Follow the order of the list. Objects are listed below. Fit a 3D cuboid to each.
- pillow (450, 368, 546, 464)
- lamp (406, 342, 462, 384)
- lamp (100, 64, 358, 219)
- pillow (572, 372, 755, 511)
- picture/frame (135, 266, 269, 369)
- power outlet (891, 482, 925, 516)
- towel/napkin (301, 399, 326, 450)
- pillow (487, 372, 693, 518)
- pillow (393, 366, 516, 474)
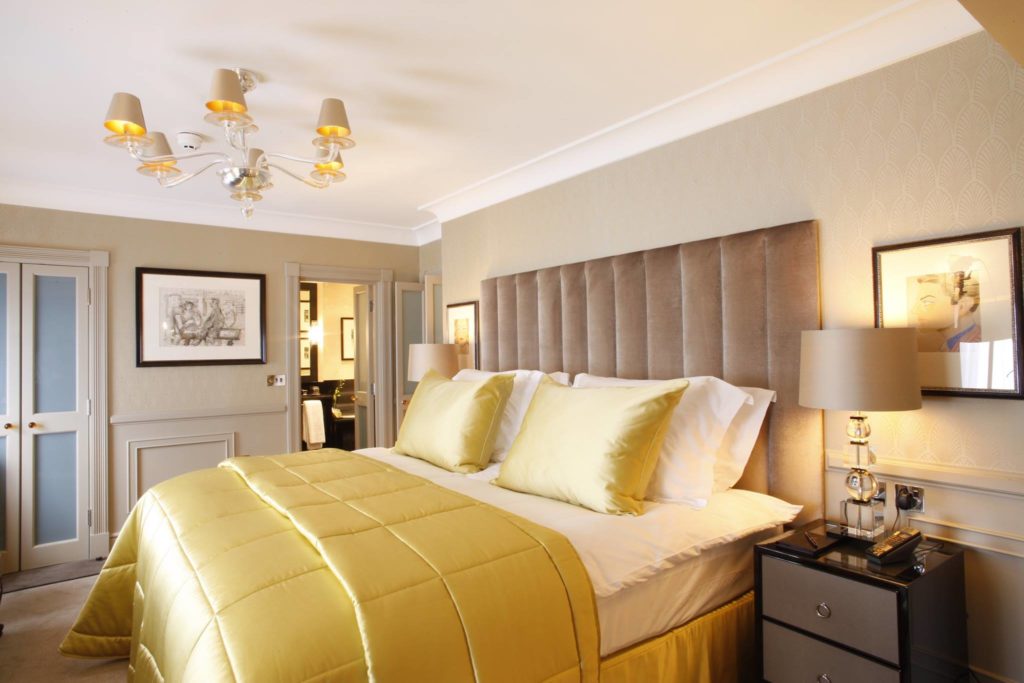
[{"bbox_3d":[-0.034,0.419,4.280,0.179,0.561,0.608,31,-27,-35],"label":"pillow"},{"bbox_3d":[-0.666,0.153,5.499,0.344,0.242,0.345,-1,-7,5],"label":"lamp"},{"bbox_3d":[-1.614,-1.194,3.948,1.424,0.699,1.274,-5,-1,5],"label":"lamp"},{"bbox_3d":[0.989,0.538,3.625,0.616,0.616,0.192,10,-21,34],"label":"pillow"},{"bbox_3d":[-2.814,-0.221,5.948,0.896,0.738,0.044,-6,5,-42],"label":"picture/frame"},{"bbox_3d":[2.011,0.778,3.418,0.148,0.210,0.153,-1,-1,43],"label":"power outlet"},{"bbox_3d":[-2.311,0.951,7.820,0.102,0.539,0.264,-12,-8,24],"label":"towel/napkin"},{"bbox_3d":[0.363,0.552,3.733,0.522,0.609,1.018,-5,5,-44],"label":"pillow"},{"bbox_3d":[-0.442,0.502,4.438,0.479,0.582,0.940,-4,4,-41],"label":"pillow"}]
